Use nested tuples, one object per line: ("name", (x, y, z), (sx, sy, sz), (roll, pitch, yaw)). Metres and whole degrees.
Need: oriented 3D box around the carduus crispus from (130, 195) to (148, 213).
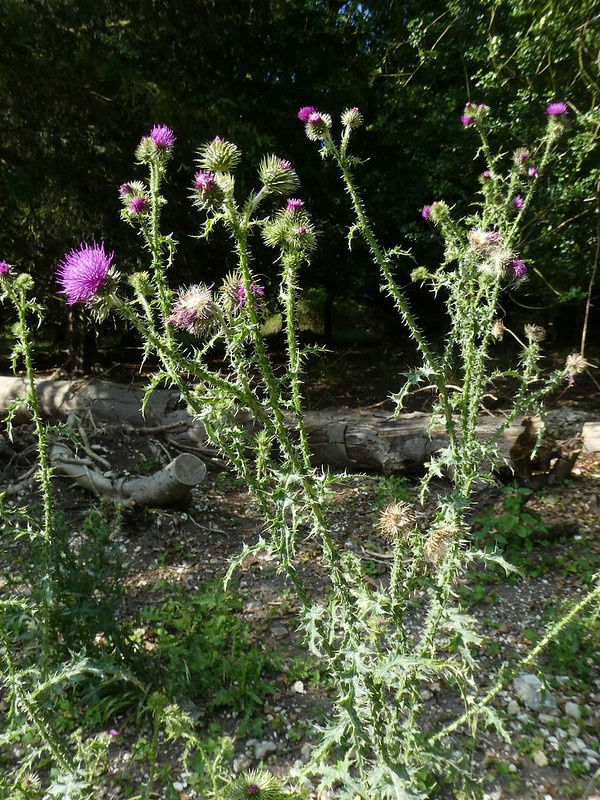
("carduus crispus", (-0.605, -0.745, 2.853), (0.073, 0.058, 0.064), (-4, 27, -2))
